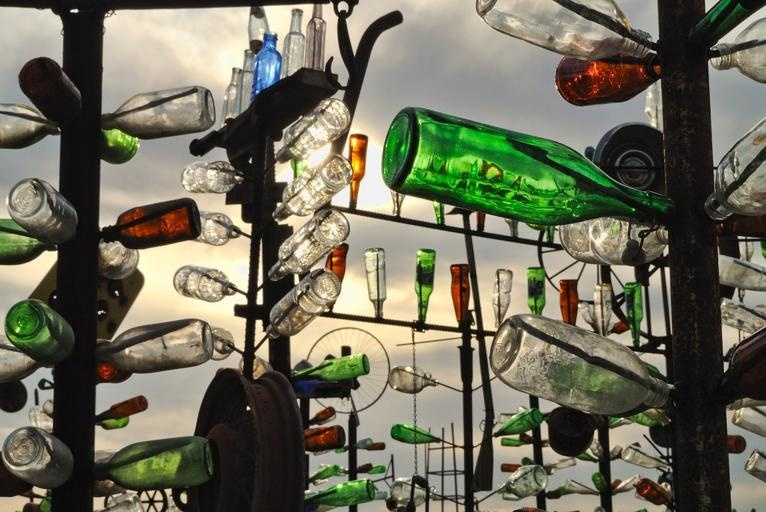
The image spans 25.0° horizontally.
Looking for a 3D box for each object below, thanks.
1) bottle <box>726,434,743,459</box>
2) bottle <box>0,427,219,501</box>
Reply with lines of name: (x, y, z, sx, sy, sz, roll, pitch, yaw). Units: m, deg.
bottle: (1.603, 0.850, 7.822, 0.067, 0.105, 0.226, -4, -20, 8)
bottle: (-1.148, 0.833, 7.162, 0.885, 0.243, 0.276, 1, -20, -7)
